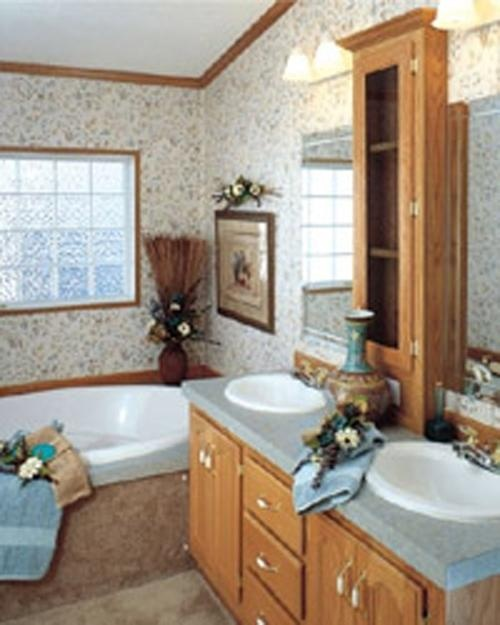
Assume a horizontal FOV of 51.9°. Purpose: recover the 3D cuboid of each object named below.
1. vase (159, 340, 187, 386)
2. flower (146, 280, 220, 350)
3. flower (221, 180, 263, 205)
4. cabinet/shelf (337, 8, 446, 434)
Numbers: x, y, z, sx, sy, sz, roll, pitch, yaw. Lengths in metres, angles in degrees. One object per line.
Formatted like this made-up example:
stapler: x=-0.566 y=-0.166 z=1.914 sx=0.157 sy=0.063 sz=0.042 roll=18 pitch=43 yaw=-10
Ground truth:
vase: x=-0.503 y=0.322 z=3.377 sx=0.196 sy=0.290 sz=0.171 roll=-4 pitch=8 yaw=-10
flower: x=-0.430 y=0.021 z=3.532 sx=0.558 sy=0.268 sz=0.472 roll=17 pitch=15 yaw=-14
flower: x=-0.043 y=-0.715 z=3.024 sx=0.039 sy=0.190 sz=0.562 roll=-5 pitch=9 yaw=-23
cabinet/shelf: x=0.465 y=-0.279 z=1.640 sx=0.126 sy=1.253 sz=0.456 roll=-6 pitch=9 yaw=-24
